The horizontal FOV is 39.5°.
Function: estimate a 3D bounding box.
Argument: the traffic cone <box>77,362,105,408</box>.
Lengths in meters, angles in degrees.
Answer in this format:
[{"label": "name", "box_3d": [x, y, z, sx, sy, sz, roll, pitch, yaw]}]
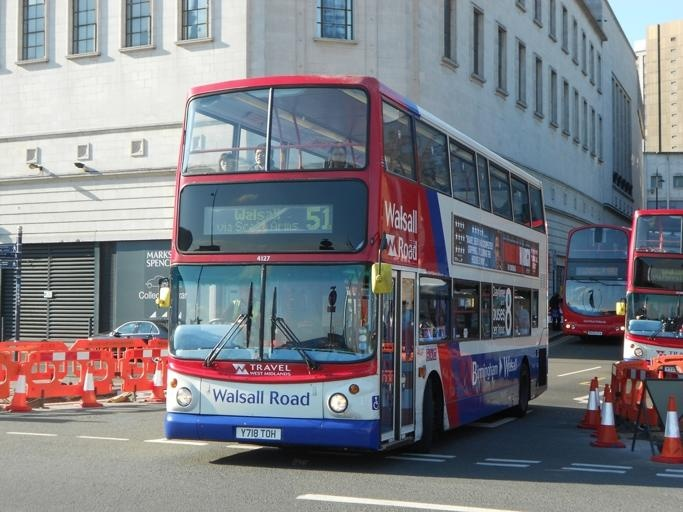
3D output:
[{"label": "traffic cone", "box_3d": [-5.718, 2.938, 21.125, 0.647, 1.023, 0.673, -4, -6, 26]}]

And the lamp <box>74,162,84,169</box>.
[{"label": "lamp", "box_3d": [-9.175, -3.172, 33.046, 0.389, 0.225, 0.234, 1, 0, 34]}]

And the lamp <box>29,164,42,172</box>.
[{"label": "lamp", "box_3d": [-10.899, -3.162, 33.699, 0.532, 0.271, 0.202, 1, 1, 22]}]

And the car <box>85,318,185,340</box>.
[{"label": "car", "box_3d": [-6.063, 2.100, 27.771, 2.639, 1.020, 1.232, 2, -4, 12]}]
